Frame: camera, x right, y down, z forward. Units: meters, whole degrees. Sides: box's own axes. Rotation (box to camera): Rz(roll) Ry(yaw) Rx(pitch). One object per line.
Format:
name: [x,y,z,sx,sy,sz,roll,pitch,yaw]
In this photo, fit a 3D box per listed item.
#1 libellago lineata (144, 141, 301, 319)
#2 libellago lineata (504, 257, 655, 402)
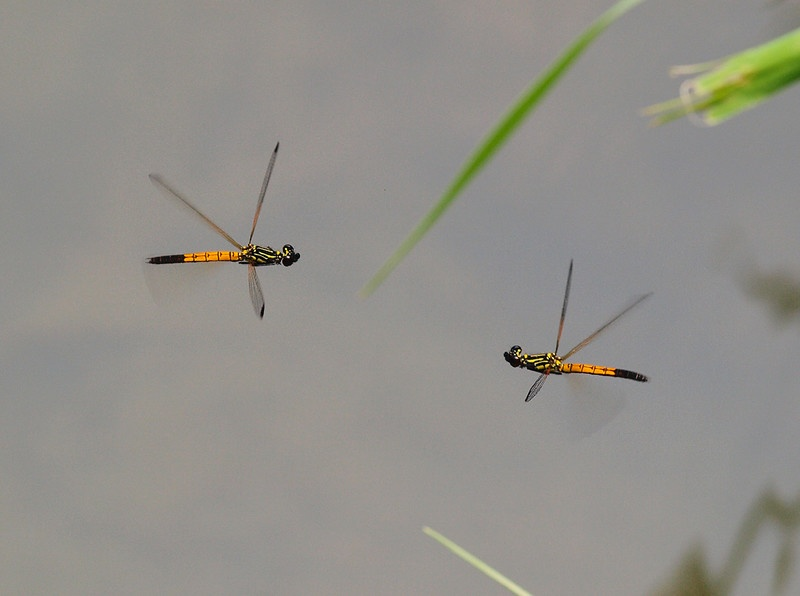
libellago lineata: [-0.481,-0.139,3.199,0.451,0.164,0.773,2,75,-7]
libellago lineata: [0.477,0.125,3.185,0.389,0.474,0.277,5,101,17]
